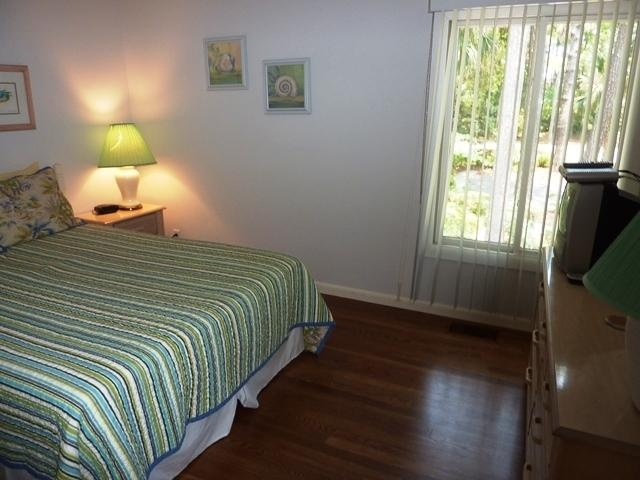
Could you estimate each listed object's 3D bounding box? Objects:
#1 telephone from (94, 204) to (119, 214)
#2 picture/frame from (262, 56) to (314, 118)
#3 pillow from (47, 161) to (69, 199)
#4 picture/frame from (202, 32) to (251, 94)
[{"bbox_3d":[-1.835,-0.270,3.895,0.093,0.050,0.129,11,17,42],"label":"telephone"},{"bbox_3d":[-0.246,-1.264,3.695,0.432,0.451,0.032,7,22,24],"label":"picture/frame"},{"bbox_3d":[-2.098,-0.482,3.681,0.055,0.260,0.246,-7,20,-11],"label":"pillow"},{"bbox_3d":[-0.779,-1.515,3.844,0.427,0.482,0.032,7,13,26],"label":"picture/frame"}]
